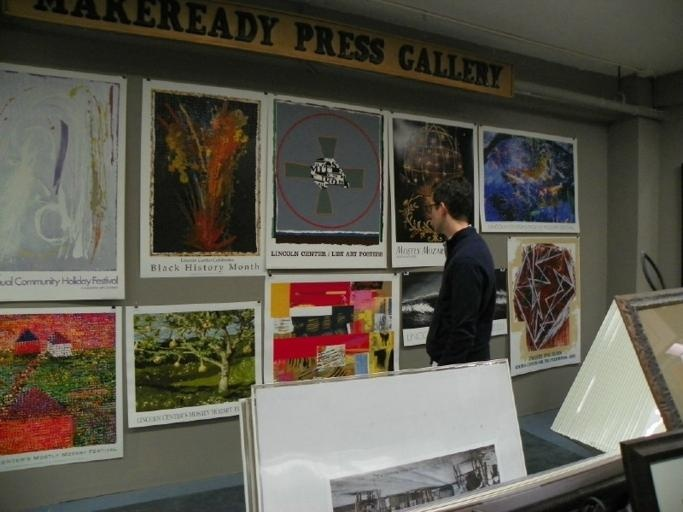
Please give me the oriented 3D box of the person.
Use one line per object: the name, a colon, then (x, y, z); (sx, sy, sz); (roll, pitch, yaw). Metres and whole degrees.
person: (0.652, 0.076, 3.055); (0.320, 1.073, 0.382); (0, -2, -36)
